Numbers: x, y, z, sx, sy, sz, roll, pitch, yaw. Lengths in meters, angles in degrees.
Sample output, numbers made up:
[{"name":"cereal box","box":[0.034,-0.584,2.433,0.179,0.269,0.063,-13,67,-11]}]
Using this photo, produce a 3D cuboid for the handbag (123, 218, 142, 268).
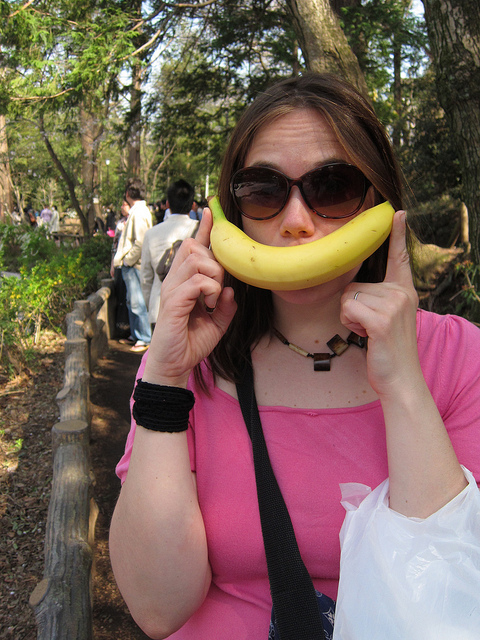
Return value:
[{"name":"handbag","box":[-1.329,-0.951,7.056,0.140,0.479,0.327,7,-3,-1]}]

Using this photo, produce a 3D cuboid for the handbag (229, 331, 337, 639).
[{"name":"handbag","box":[0.100,0.422,1.513,0.118,1.164,0.141,-7,-23,3]}]

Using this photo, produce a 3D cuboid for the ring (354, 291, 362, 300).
[{"name":"ring","box":[0.297,-0.066,1.421,0.010,0.017,0.026,13,15,28]}]

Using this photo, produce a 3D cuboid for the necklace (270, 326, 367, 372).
[{"name":"necklace","box":[0.240,0.071,1.642,0.291,0.162,0.051,-5,15,12]}]

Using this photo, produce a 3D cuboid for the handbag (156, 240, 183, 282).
[{"name":"handbag","box":[-0.710,-0.588,5.415,0.155,0.473,0.339,20,-26,-9]}]

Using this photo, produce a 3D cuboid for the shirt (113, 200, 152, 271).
[{"name":"shirt","box":[-1.421,-1.028,7.218,0.443,0.886,0.599,11,-7,-30]}]
